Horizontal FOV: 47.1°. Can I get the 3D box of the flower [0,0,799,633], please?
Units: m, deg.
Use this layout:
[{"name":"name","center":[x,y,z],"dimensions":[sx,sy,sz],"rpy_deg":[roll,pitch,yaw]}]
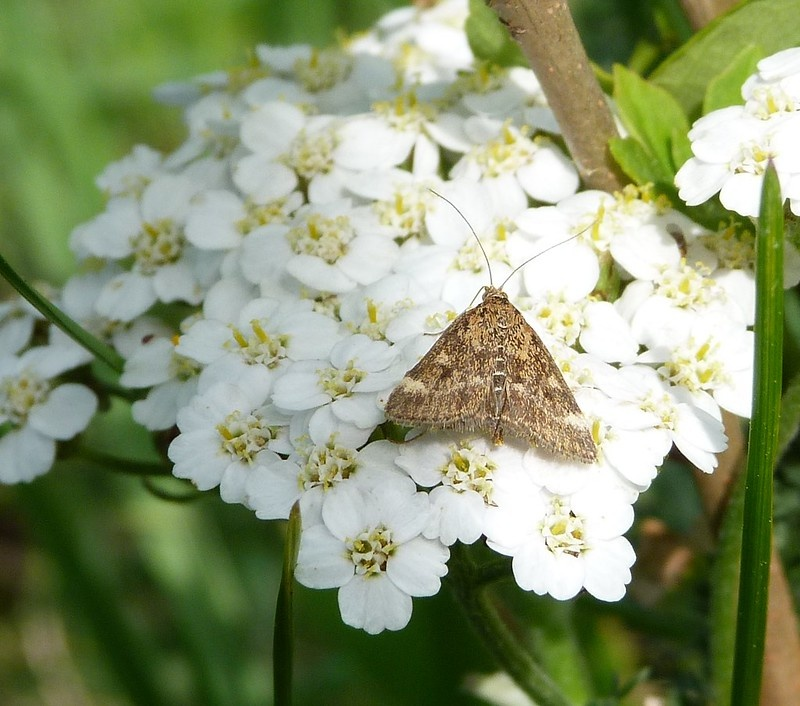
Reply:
[{"name":"flower","center":[-0.004,-0.041,0.921],"dimensions":[0.645,0.231,0.660],"rpy_deg":[35,71,31]}]
